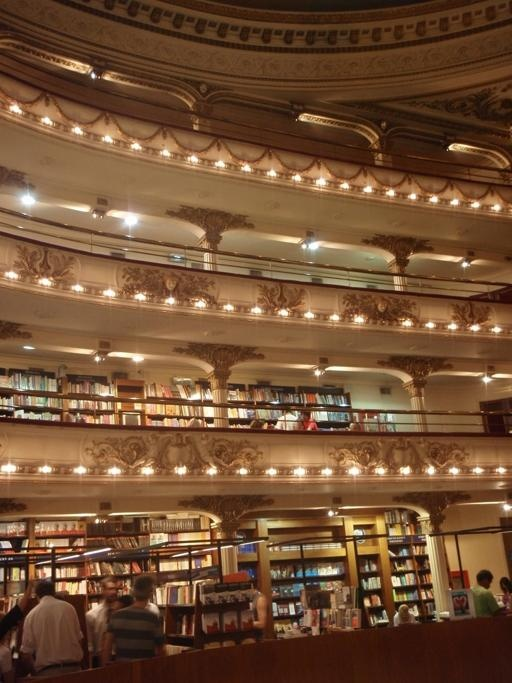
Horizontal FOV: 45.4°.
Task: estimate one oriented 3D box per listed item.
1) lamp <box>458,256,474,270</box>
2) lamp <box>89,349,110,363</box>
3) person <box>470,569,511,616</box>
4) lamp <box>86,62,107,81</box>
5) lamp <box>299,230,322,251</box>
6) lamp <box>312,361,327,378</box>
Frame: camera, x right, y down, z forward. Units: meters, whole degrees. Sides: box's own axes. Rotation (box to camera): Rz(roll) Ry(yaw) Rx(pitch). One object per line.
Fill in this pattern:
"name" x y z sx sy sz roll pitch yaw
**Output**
"lamp" 4.968 -1.910 14.824 0.284 0.241 0.481 -8 -9 10
"lamp" -2.740 0.268 10.730 0.276 0.063 0.292 -19 -24 37
"person" 2.273 2.468 6.022 0.274 0.384 0.711 -11 -21 17
"lamp" -3.219 -5.437 12.285 0.292 0.069 0.253 2 -34 -27
"lamp" 1.186 -2.185 13.447 0.399 0.323 0.645 0 1 0
"lamp" 1.312 0.593 12.656 0.405 0.100 0.292 -21 -3 26
